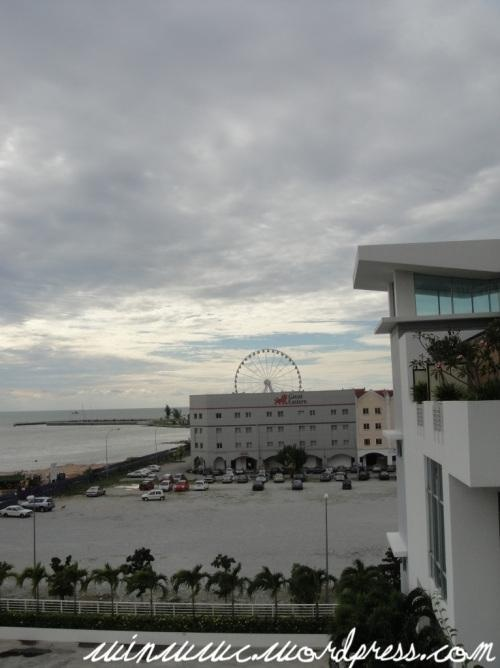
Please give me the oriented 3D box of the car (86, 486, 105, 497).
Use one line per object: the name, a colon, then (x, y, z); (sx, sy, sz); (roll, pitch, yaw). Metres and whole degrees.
car: (-15.784, 16.239, 63.556); (1.757, 0.991, 2.756); (-4, 1, -4)
